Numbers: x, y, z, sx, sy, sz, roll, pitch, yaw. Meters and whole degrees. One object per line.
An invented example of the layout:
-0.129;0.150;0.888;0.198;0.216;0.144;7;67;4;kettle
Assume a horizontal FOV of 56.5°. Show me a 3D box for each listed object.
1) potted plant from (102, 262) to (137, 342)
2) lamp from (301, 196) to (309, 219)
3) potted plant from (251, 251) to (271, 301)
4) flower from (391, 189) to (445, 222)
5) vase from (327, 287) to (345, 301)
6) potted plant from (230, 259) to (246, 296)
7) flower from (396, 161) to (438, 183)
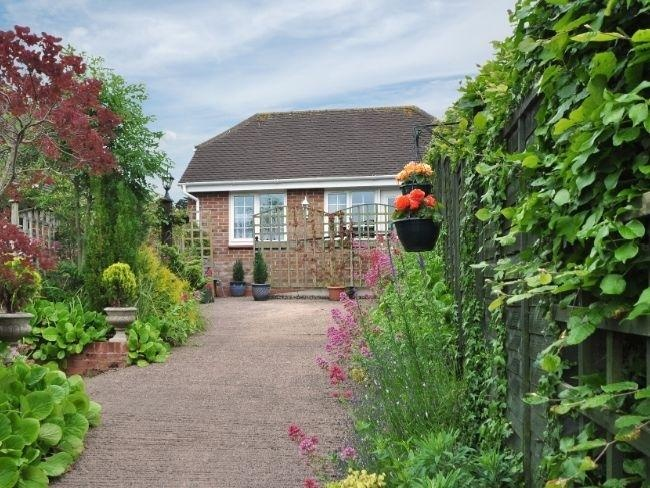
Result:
-2.363;0.652;6.994;0.370;0.853;0.664;-3;5;-20;potted plant
-0.439;-0.802;13.725;0.140;0.433;0.357;-1;5;7;lamp
-1.403;0.630;12.928;0.391;1.117;0.421;-5;-1;5;potted plant
0.788;-0.331;5.209;0.295;0.217;0.312;0;2;5;flower
0.224;1.006;12.514;0.311;0.279;0.296;-1;5;9;vase
-1.972;0.754;13.765;0.338;0.857;0.366;-3;-6;30;potted plant
0.852;-0.661;5.634;0.233;0.190;0.237;-1;2;-12;flower
